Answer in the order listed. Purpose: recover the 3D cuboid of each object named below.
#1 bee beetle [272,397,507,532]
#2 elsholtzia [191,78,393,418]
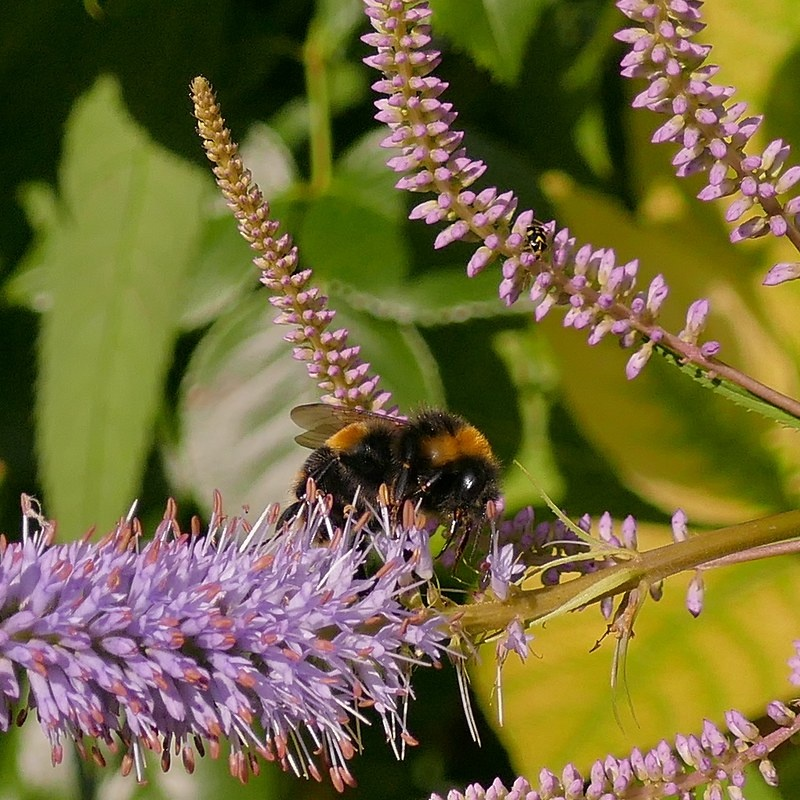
[{"bbox_3d":[-0.004,0.084,1.832,0.223,0.235,0.186,11,82,-26],"label":"bee beetle"},{"bbox_3d":[-0.158,-0.144,1.656,0.194,0.459,0.191,-13,27,-37],"label":"elsholtzia"}]
